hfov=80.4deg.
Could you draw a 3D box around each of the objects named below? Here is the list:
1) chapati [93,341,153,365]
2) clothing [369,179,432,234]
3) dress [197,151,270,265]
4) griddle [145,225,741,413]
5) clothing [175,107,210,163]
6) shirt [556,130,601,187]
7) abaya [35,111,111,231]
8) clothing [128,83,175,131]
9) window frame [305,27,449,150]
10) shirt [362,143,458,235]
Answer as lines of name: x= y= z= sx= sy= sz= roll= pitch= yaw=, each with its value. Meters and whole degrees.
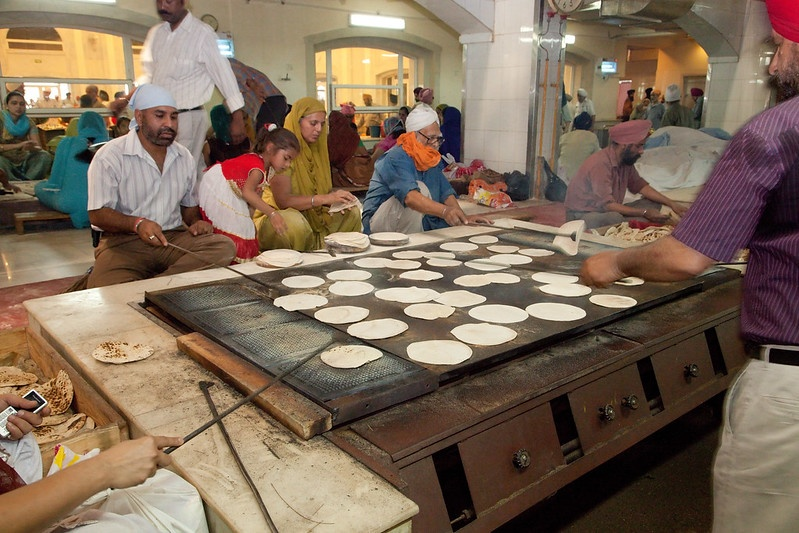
chapati: x=-1.126 y=0.346 z=1.920 sx=0.128 sy=0.016 sz=0.130 roll=-5 pitch=17 yaw=-43
clothing: x=0.019 y=-0.509 z=4.228 sx=0.561 sy=0.225 sz=0.398 roll=-4 pitch=14 yaw=-7
dress: x=-1.295 y=-0.434 z=3.672 sx=0.511 sy=0.866 sz=0.665 roll=-7 pitch=37 yaw=-34
griddle: x=0.109 y=0.189 z=2.605 sx=1.446 sy=0.092 sz=2.358 roll=17 pitch=19 yaw=39
clothing: x=-1.985 y=-1.267 z=4.594 sx=0.209 sy=0.629 sz=0.284 roll=27 pitch=46 yaw=9
shirt: x=2.630 y=-1.619 z=6.986 sx=0.713 sy=0.744 sz=0.421 roll=3 pitch=31 yaw=12
abaya: x=-4.408 y=-1.390 z=6.805 sx=1.387 sy=1.567 sz=1.029 roll=-3 pitch=14 yaw=-41
clothing: x=-1.723 y=-1.087 z=3.237 sx=0.296 sy=0.239 sz=0.221 roll=-8 pitch=10 yaw=-8
window frame: x=-0.331 y=-4.360 z=12.289 sx=4.068 sy=3.162 sz=0.291 roll=-16 pitch=16 yaw=-36
shirt: x=-0.019 y=-0.569 z=4.355 sx=0.743 sy=0.698 sz=0.673 roll=-4 pitch=-9 yaw=42
